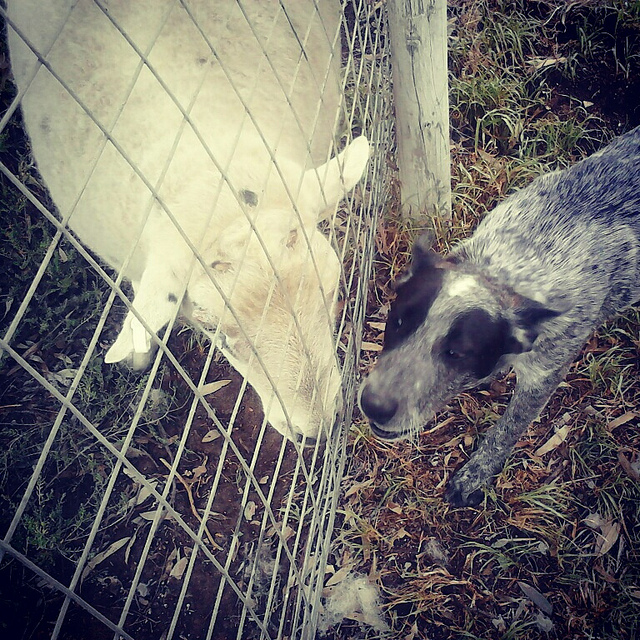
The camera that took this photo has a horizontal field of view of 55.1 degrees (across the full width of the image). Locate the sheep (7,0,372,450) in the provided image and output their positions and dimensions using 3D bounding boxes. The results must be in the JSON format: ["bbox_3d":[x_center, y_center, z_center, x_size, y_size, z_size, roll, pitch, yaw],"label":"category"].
[{"bbox_3d":[-0.750,-0.568,3.673,1.188,1.823,2.743,-11,76,0],"label":"sheep"}]
